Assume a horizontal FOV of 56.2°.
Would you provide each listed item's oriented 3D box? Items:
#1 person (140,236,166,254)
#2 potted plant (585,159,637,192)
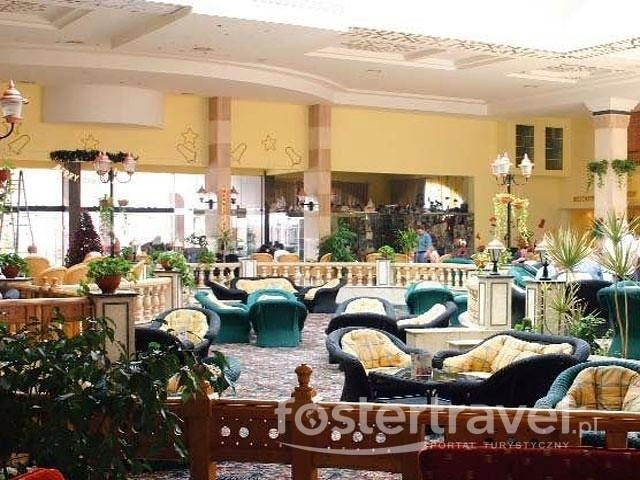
[{"bbox_3d":[-4.673,0.157,16.650,0.390,0.312,0.907,10,19,44],"label":"person"},{"bbox_3d":[7.813,-1.782,16.206,1.219,0.555,0.936,1,0,11],"label":"potted plant"}]
